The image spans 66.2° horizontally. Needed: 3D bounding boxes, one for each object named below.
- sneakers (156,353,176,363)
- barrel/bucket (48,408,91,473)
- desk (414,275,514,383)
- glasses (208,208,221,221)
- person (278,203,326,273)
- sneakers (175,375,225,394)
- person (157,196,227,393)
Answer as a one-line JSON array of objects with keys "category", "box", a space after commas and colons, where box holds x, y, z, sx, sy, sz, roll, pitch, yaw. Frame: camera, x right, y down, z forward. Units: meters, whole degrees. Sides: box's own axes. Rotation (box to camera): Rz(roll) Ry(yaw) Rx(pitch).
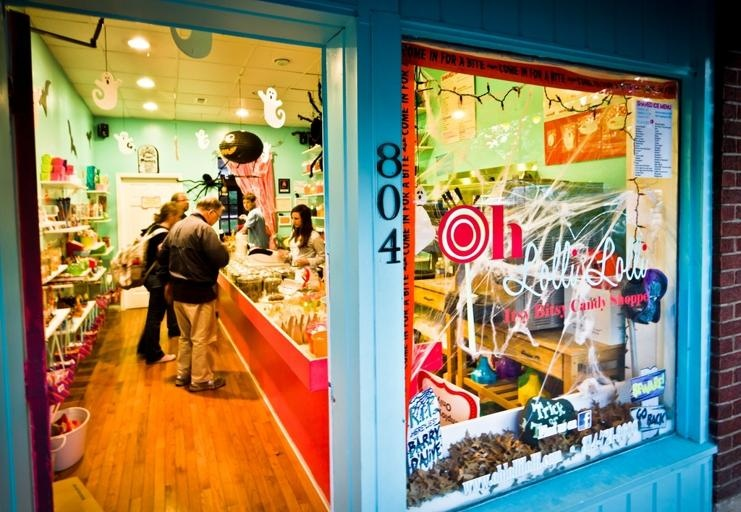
[{"category": "sneakers", "box": [-2.132, 1.103, 5.945, 0.175, 0.060, 0.118, -17, -30, -20]}, {"category": "barrel/bucket", "box": [-2.163, 1.313, 4.106, 0.239, 0.321, 0.422, -7, 15, -26]}, {"category": "desk", "box": [0.441, 0.409, 3.346, 0.562, 0.725, 0.497, 2, -2, -28]}, {"category": "glasses", "box": [-1.448, -0.372, 5.294, 0.083, 0.112, 0.054, 1, -11, 24]}, {"category": "person", "box": [-0.711, -0.179, 6.023, 0.429, 0.683, 0.896, -6, 15, -22]}, {"category": "sneakers", "box": [-1.546, 1.195, 5.200, 0.305, 0.113, 0.173, -3, 8, -32]}, {"category": "person", "box": [-1.608, 0.351, 5.273, 0.516, 1.683, 0.706, -6, 14, -25]}]
